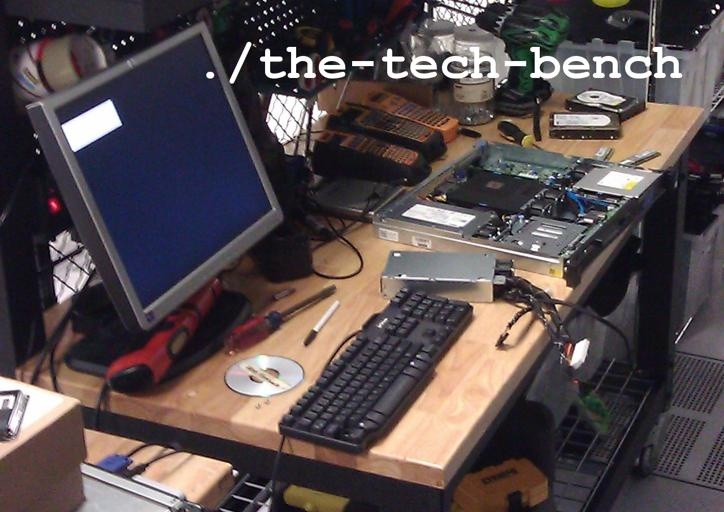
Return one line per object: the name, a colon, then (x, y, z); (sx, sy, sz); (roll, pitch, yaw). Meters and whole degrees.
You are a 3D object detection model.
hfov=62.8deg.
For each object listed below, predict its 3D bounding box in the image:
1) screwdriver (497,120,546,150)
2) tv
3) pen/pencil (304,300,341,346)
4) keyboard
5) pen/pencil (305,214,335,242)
screwdriver: (0.498, -0.385, 1.926); (0.055, 0.056, 0.190); (-50, 45, -2)
tv: (-0.373, -0.166, 1.168); (0.137, 0.450, 0.477); (13, 37, 28)
pen/pencil: (-0.080, 0.142, 1.358); (0.026, 0.026, 0.190); (10, 33, 18)
keyboard: (0.042, 0.211, 1.188); (0.196, 0.061, 0.455); (13, 36, 29)
pen/pencil: (-0.114, -0.067, 1.598); (0.085, 0.028, 0.021); (41, 94, 31)
